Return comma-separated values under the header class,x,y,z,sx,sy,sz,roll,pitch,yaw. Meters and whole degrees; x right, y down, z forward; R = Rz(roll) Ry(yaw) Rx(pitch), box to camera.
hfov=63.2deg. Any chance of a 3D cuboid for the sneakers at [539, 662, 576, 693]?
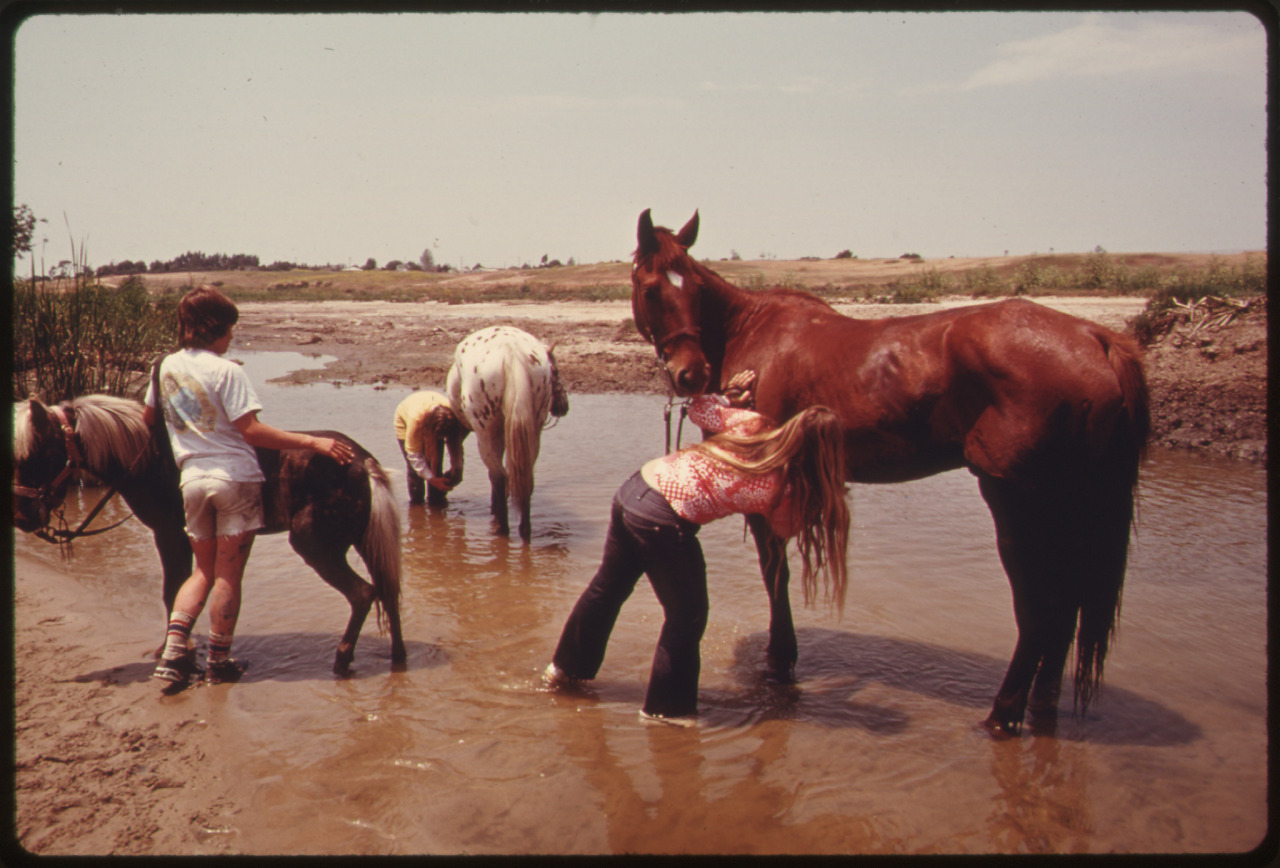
class,x,y,z,sx,sy,sz,roll,pitch,yaw
sneakers,-0.610,1.868,7.803,0.244,0.168,0.230,1,-2,14
